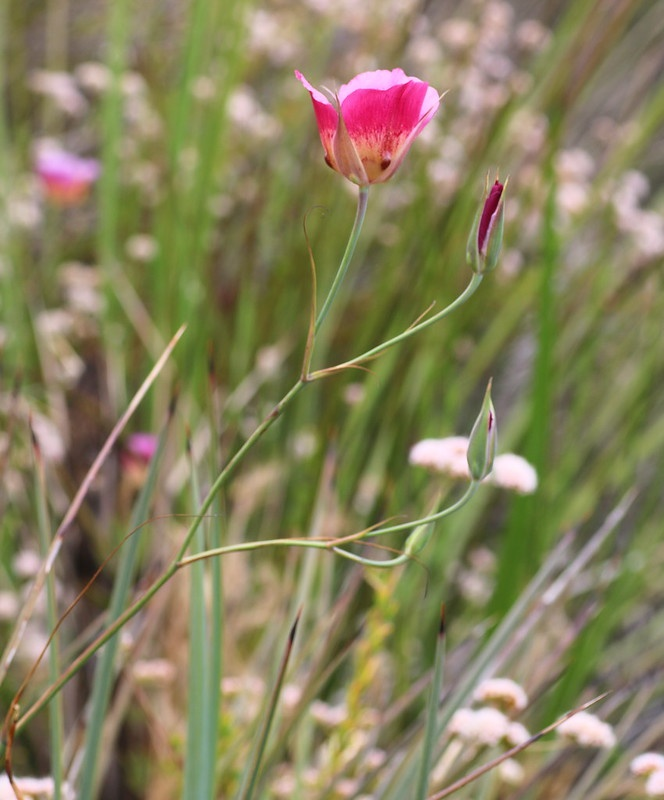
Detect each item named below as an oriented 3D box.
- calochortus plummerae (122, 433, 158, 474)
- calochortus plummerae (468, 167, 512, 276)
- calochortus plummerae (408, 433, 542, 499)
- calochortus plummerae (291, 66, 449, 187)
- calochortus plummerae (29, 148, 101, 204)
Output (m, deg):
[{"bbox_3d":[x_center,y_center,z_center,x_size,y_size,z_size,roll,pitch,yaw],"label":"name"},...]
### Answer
[{"bbox_3d":[-0.154,0.041,0.860,0.034,0.025,0.033,-8,-2,3],"label":"calochortus plummerae"},{"bbox_3d":[0.082,-0.090,0.565,0.013,0.060,0.013,10,-16,-2],"label":"calochortus plummerae"},{"bbox_3d":[0.104,0.048,0.765,0.086,0.042,0.078,-12,-4,44],"label":"calochortus plummerae"},{"bbox_3d":[0.020,-0.149,0.593,0.052,0.068,0.071,-4,3,-6],"label":"calochortus plummerae"},{"bbox_3d":[-0.170,-0.141,0.685,0.036,0.033,0.014,30,-6,9],"label":"calochortus plummerae"}]
